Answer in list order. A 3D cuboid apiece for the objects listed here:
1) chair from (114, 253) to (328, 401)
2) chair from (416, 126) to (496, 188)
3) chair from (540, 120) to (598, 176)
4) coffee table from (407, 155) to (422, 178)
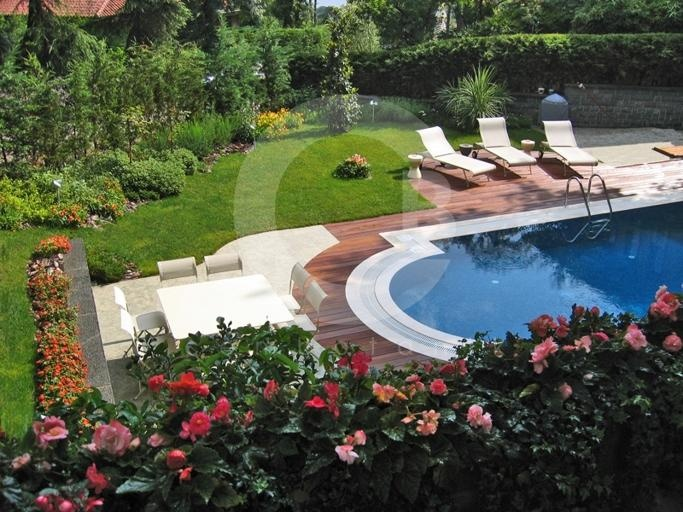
[{"bbox_3d":[-1.503,1.085,7.258,2.688,1.079,1.631,-7,39,-13],"label":"chair"},{"bbox_3d":[2.899,-2.597,13.271,0.887,0.893,2.065,-18,33,-32],"label":"chair"},{"bbox_3d":[6.080,-2.921,13.869,0.831,0.916,1.937,1,29,-7],"label":"chair"},{"bbox_3d":[1.901,-2.279,13.319,0.421,0.653,0.418,8,9,6],"label":"coffee table"}]
